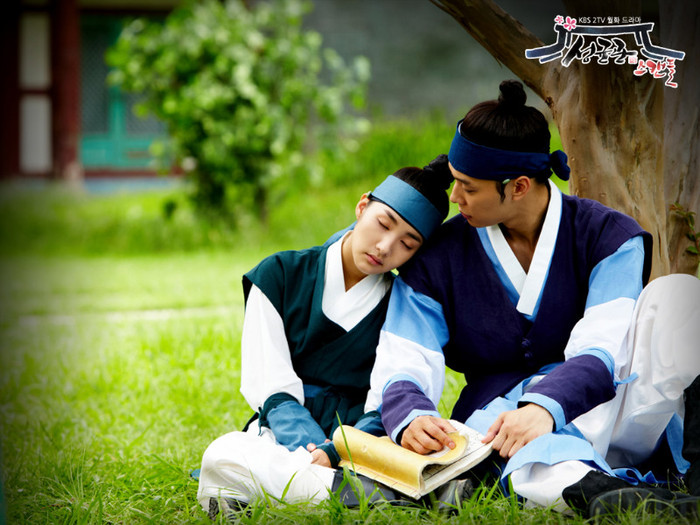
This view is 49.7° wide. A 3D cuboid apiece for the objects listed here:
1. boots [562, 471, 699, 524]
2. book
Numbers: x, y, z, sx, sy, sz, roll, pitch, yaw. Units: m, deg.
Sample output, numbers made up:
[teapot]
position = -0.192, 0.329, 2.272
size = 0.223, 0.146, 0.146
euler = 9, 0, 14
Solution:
[boots]
position = 1.033, 0.880, 2.817
size = 0.289, 0.099, 0.131
euler = 8, 2, 3
[book]
position = 0.252, 0.756, 3.118
size = 0.489, 0.180, 0.499
euler = 8, 13, 36
